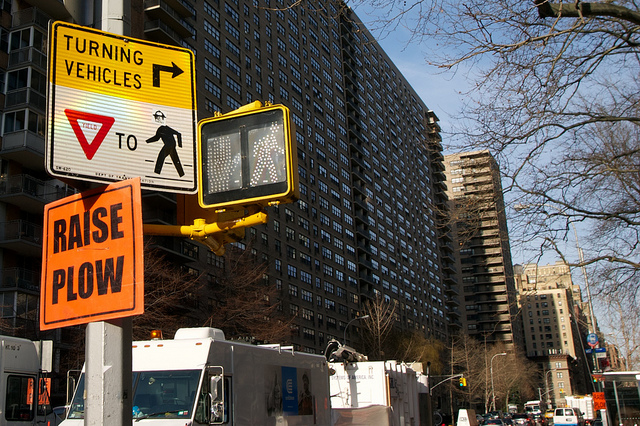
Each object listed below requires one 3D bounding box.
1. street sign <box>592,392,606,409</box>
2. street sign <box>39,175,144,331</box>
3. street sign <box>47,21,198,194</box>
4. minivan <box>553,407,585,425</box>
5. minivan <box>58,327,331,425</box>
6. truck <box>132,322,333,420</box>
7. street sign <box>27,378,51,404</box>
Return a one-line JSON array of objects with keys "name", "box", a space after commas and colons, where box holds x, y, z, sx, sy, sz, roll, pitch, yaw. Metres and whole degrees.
[{"name": "street sign", "box": [15.802, 10.552, 39.701, 0.515, 0.894, 0.801, -8, -21, 9]}, {"name": "street sign", "box": [-2.511, 0.470, 7.846, 1.781, 1.700, 0.079, -13, -21, 18]}, {"name": "street sign", "box": [-2.326, -1.176, 8.222, 2.112, 2.049, 0.101, 8, -23, -28]}, {"name": "minivan", "box": [19.423, 16.061, 55.757, 1.527, 1.420, 2.528, -18, -24, 31]}, {"name": "minivan", "box": [-1.625, 4.342, 17.667, 2.098, 2.103, 7.446, -15, -23, 26]}, {"name": "truck", "box": [-1.939, 4.169, 16.774, 2.500, 2.079, 4.467, -14, -36, 21]}, {"name": "street sign", "box": [-7.964, 5.001, 19.679, 0.246, 0.732, 0.787, -5, -8, 33]}]
